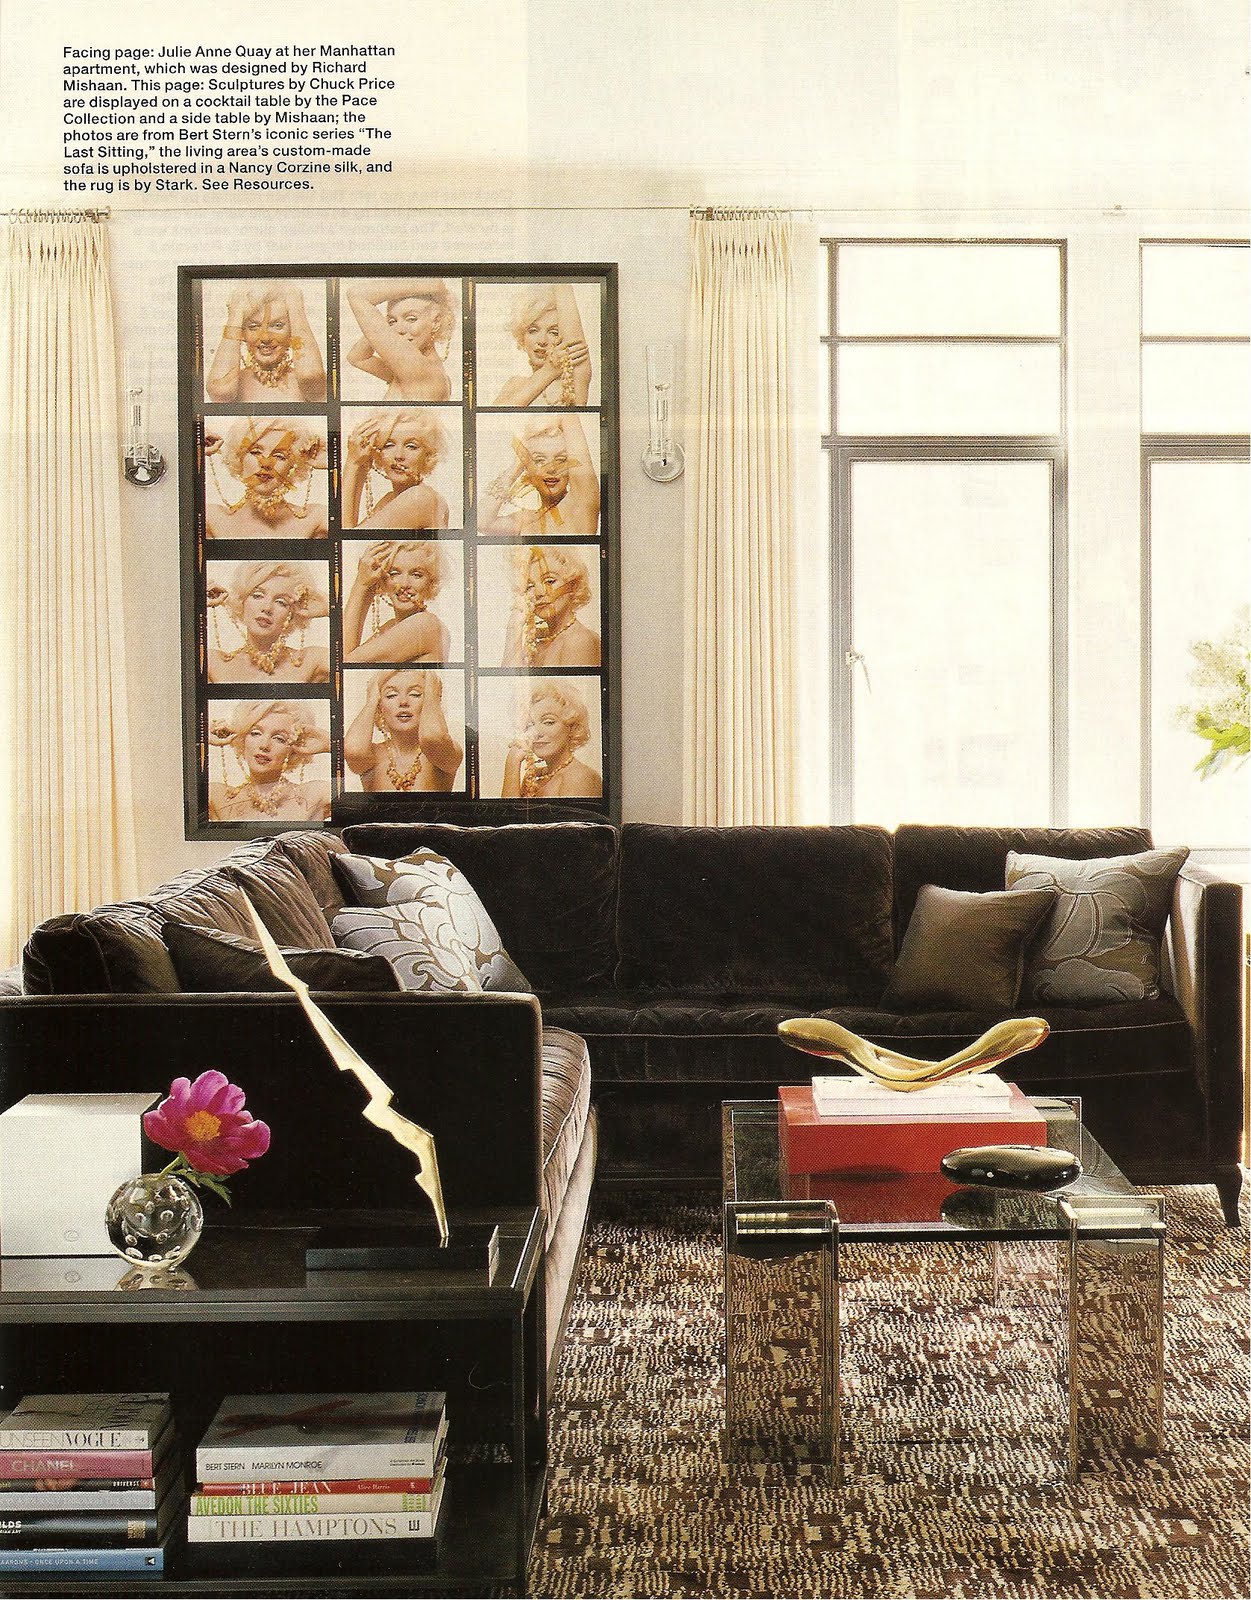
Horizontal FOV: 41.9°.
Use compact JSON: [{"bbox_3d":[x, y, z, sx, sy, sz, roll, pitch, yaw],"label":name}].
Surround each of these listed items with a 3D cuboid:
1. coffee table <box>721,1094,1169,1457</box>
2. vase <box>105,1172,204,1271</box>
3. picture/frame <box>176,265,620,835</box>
[{"bbox_3d":[0.500,0.774,2.578,0.587,0.327,0.543,-2,7,-7],"label":"coffee table"},{"bbox_3d":[-0.602,0.538,2.143,0.118,0.137,0.120,2,2,-10],"label":"vase"},{"bbox_3d":[-0.622,-0.779,4.608,1.593,2.030,0.079,0,2,-3],"label":"picture/frame"}]
